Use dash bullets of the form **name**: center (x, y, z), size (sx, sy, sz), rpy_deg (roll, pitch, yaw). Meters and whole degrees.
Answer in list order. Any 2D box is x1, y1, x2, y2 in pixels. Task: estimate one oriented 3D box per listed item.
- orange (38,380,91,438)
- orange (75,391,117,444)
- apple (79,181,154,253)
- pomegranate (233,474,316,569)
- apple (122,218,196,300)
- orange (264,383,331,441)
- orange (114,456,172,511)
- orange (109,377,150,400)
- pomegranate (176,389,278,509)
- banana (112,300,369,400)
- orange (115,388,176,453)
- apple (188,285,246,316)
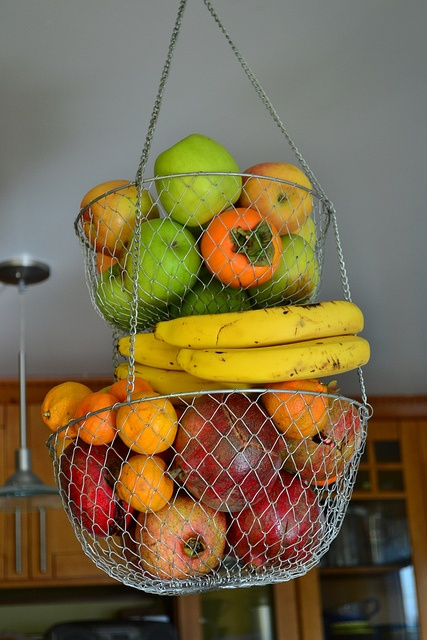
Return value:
- **orange**: center (-0.105, 0.080, 0.563), size (0.046, 0.048, 0.045), rpy_deg (-17, -32, 41)
- **orange**: center (-0.081, 0.069, 0.471), size (0.027, 0.035, 0.028), rpy_deg (4, -3, -25)
- **apple**: center (-0.085, -0.087, 0.562), size (0.065, 0.065, 0.054), rpy_deg (-6, -2, 43)
- **pomegranate**: center (0.041, 0.158, 0.541), size (0.071, 0.067, 0.052), rpy_deg (6, -8, -32)
- **apple**: center (-0.043, -0.048, 0.530), size (0.051, 0.045, 0.054), rpy_deg (17, -48, -2)
- **orange**: center (0.062, 0.066, 0.493), size (0.039, 0.040, 0.051), rpy_deg (1, -3, -27)
- **orange**: center (-0.048, 0.115, 0.464), size (0.040, 0.040, 0.043), rpy_deg (-3, -13, -8)
- **orange**: center (-0.061, 0.052, 0.504), size (0.021, 0.019, 0.019), rpy_deg (-6, -53, -18)
- **pomegranate**: center (0.009, 0.086, 0.464), size (0.070, 0.069, 0.096), rpy_deg (-1, -3, -17)
- **banana**: center (0.023, 0.024, 0.515), size (0.192, 0.074, 0.055), rpy_deg (-7, -3, -6)
- **orange**: center (-0.047, 0.066, 0.461), size (0.047, 0.040, 0.045), rpy_deg (-7, 0, -12)
- **apple**: center (0.002, -0.016, 0.551), size (0.040, 0.020, 0.027), rpy_deg (-4, -36, 4)
